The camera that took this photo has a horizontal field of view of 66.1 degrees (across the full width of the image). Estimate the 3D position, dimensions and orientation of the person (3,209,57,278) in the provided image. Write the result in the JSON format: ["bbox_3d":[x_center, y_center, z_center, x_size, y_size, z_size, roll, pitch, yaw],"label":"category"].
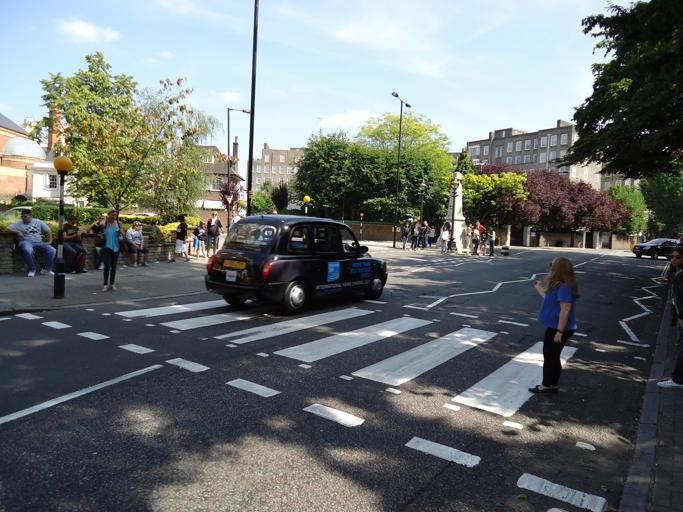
[{"bbox_3d":[-8.566,-0.382,14.631,1.051,1.756,1.115,-7,16,-37],"label":"person"}]

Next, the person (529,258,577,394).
[{"bbox_3d":[2.836,0.931,7.069,0.547,1.844,0.755,9,14,23],"label":"person"}]

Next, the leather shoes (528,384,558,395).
[{"bbox_3d":[2.677,1.788,7.020,0.359,0.108,0.137,2,-1,5],"label":"leather shoes"}]

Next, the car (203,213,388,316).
[{"bbox_3d":[-0.959,0.073,11.431,3.402,1.456,1.911,-5,8,-44],"label":"car"}]

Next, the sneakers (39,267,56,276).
[{"bbox_3d":[-7.963,0.446,14.283,0.511,0.203,0.191,4,17,-14],"label":"sneakers"}]
